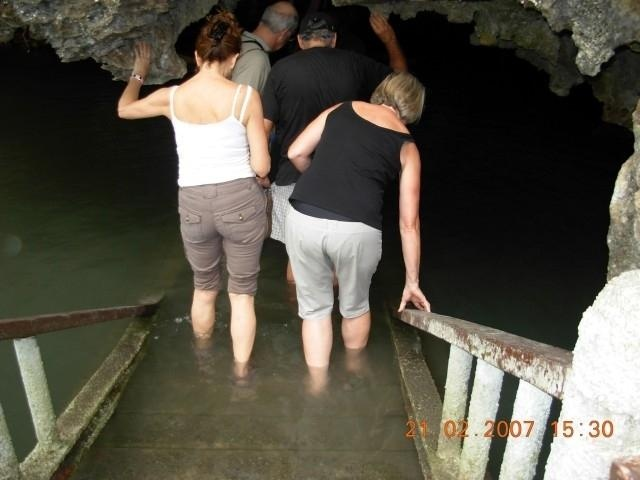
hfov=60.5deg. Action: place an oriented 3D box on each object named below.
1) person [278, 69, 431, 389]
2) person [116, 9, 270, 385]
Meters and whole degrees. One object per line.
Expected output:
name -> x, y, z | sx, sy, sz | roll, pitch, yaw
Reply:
person -> 0.252, -0.043, 4.028 | 1.003, 2.301, 0.505 | 1, 17, -5
person -> -0.871, -0.293, 4.079 | 0.954, 2.630, 0.633 | 14, 21, 36
